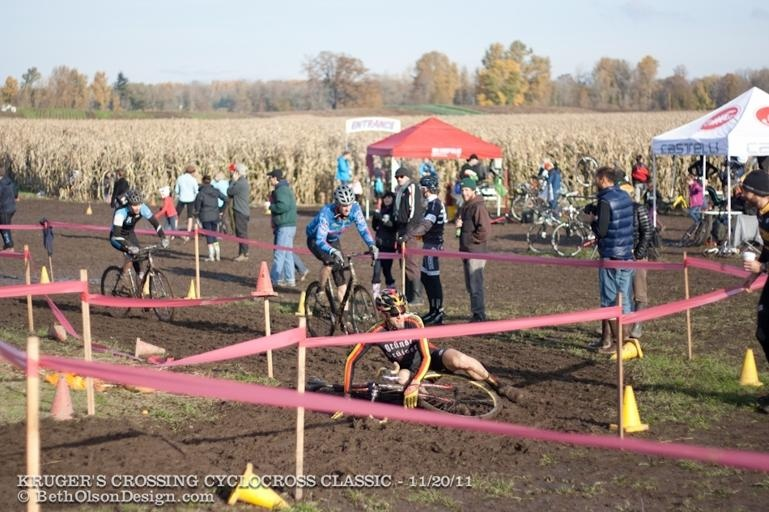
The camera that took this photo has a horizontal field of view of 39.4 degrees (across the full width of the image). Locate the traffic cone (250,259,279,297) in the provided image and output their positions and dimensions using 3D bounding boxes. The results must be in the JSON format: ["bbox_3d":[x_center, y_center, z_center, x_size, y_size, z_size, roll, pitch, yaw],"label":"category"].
[{"bbox_3d":[-2.419,0.452,21.100,0.650,0.922,0.727,0,-7,4],"label":"traffic cone"}]

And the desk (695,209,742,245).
[{"bbox_3d":[9.092,-0.779,29.301,0.984,0.769,1.006,1,7,-3],"label":"desk"}]

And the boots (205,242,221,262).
[{"bbox_3d":[-4.710,-0.125,29.309,0.461,0.562,0.474,-3,10,-32],"label":"boots"}]

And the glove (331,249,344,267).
[{"bbox_3d":[-0.956,0.042,21.726,0.263,0.398,0.417,0,9,2],"label":"glove"}]

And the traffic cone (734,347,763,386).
[{"bbox_3d":[6.848,2.127,20.298,0.534,0.779,0.578,-2,-2,-9],"label":"traffic cone"}]

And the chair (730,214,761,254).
[{"bbox_3d":[9.204,-0.517,27.294,0.859,1.002,0.732,2,11,15],"label":"chair"}]

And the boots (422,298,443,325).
[{"bbox_3d":[0.935,1.228,23.151,0.681,0.677,0.290,1,3,-6],"label":"boots"}]

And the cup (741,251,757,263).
[{"bbox_3d":[7.365,0.020,21.670,0.306,0.236,0.312,-3,6,0],"label":"cup"}]

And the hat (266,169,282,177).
[{"bbox_3d":[-2.622,-1.983,25.764,0.308,0.183,0.598,-1,10,-5],"label":"hat"}]

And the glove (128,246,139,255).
[{"bbox_3d":[-5.442,-0.124,23.246,0.178,0.061,0.185,-1,35,-32],"label":"glove"}]

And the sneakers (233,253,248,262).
[{"bbox_3d":[-3.927,0.044,29.314,0.308,0.131,0.173,-1,9,-31],"label":"sneakers"}]

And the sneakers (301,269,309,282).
[{"bbox_3d":[-1.983,0.490,26.482,0.220,0.299,0.109,-6,12,-23],"label":"sneakers"}]

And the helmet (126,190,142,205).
[{"bbox_3d":[-5.413,-1.269,23.088,0.253,0.326,0.298,-4,-25,-23],"label":"helmet"}]

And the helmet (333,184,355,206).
[{"bbox_3d":[-0.823,-1.203,21.613,0.410,0.371,0.263,0,9,-1],"label":"helmet"}]

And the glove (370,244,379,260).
[{"bbox_3d":[-0.222,-0.074,21.843,0.147,0.320,0.332,1,10,6],"label":"glove"}]

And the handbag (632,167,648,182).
[{"bbox_3d":[6.216,-1.957,25.900,0.295,0.371,0.375,1,-13,-1],"label":"handbag"}]

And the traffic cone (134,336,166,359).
[{"bbox_3d":[-4.677,1.806,21.214,0.408,0.267,0.429,5,-1,-15],"label":"traffic cone"}]

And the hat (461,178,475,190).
[{"bbox_3d":[1.777,-1.530,22.863,0.307,0.220,0.369,1,10,3],"label":"hat"}]

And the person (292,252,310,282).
[{"bbox_3d":[-2.103,0.301,26.604,0.206,0.178,0.746,-27,26,-10],"label":"person"}]
